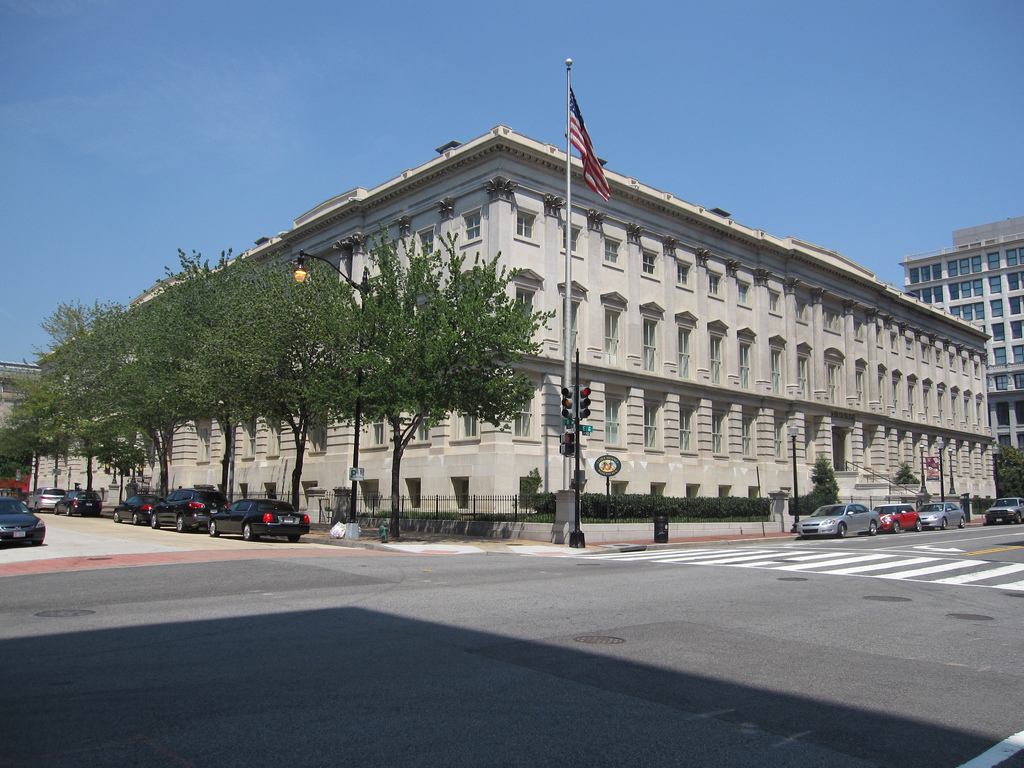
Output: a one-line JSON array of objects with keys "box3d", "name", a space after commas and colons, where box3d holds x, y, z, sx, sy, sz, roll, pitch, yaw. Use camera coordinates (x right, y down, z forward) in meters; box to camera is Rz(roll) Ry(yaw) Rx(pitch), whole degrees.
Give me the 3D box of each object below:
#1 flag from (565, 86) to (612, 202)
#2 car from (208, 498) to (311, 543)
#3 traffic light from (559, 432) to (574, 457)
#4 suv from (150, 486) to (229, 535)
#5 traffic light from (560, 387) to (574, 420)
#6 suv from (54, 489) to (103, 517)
[{"box3d": [3.157, -9.934, 34.517, 1.581, 4.106, 5.452, -1, -9, 7], "name": "flag"}, {"box3d": [-9.996, 5.292, 32.416, 4.274, 1.545, 1.472, -7, -11, 37], "name": "car"}, {"box3d": [2.129, 2.244, 31.318, 0.403, 0.855, 0.805, -1, -9, 6], "name": "traffic light"}, {"box3d": [-14.541, 5.544, 37.683, 2.065, 1.700, 4.500, 9, -9, -39], "name": "suv"}, {"box3d": [1.994, 0.693, 30.795, 0.331, 1.042, 1.023, 1, -9, -3], "name": "traffic light"}, {"box3d": [-29.490, 8.043, 56.440, 2.349, 1.879, 7.564, 6, -11, -31], "name": "suv"}]
